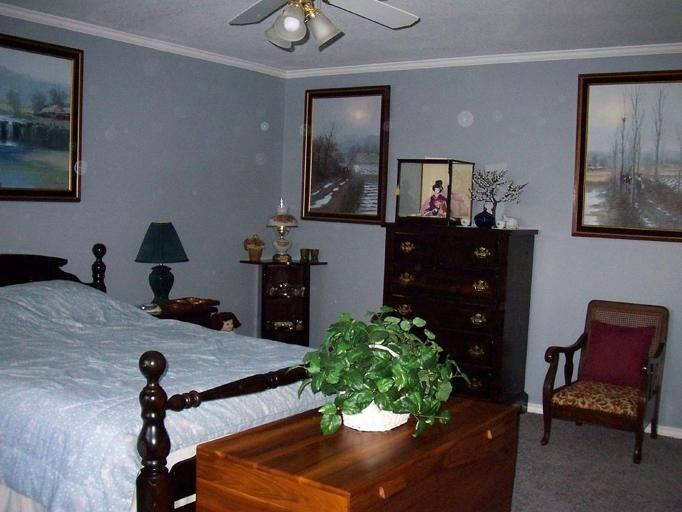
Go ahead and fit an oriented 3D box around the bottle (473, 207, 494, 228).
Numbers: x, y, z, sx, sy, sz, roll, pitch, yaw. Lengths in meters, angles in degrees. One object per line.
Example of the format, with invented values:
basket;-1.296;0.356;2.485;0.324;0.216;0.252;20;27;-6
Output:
bottle;1.461;-0.377;5.202;0.183;0.178;0.182;0;-1;-28

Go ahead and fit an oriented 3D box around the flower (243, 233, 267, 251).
flower;-1.058;-0.165;6.200;0.205;0.135;0.273;-1;2;-7

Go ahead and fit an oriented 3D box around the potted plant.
potted plant;0.106;0.467;2.193;0.492;0.317;0.589;4;13;-24

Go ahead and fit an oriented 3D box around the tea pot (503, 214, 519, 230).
tea pot;1.731;-0.341;5.229;0.139;0.152;0.193;-3;-1;-13

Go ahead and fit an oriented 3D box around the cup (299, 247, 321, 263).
cup;-0.378;-0.007;6.294;0.191;0.146;0.174;-1;4;0

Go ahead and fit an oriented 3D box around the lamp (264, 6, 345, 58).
lamp;-0.251;-1.332;3.044;0.380;0.197;0.399;-3;7;-31

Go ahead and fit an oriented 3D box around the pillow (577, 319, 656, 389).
pillow;2.501;0.884;4.668;0.560;0.537;0.175;8;-13;37

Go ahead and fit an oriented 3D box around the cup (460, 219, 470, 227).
cup;1.274;-0.335;5.289;0.082;0.065;0.077;-1;2;0

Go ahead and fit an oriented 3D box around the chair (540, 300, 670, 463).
chair;2.359;1.064;4.598;0.966;1.175;0.997;1;3;30

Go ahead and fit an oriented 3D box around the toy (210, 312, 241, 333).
toy;-1.254;0.707;5.568;0.213;0.254;0.268;1;4;32

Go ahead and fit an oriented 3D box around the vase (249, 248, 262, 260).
vase;-1.035;-0.019;6.132;0.136;0.107;0.138;-1;1;-4

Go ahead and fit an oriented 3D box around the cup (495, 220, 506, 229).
cup;1.610;-0.312;5.198;0.094;0.069;0.078;1;5;27
